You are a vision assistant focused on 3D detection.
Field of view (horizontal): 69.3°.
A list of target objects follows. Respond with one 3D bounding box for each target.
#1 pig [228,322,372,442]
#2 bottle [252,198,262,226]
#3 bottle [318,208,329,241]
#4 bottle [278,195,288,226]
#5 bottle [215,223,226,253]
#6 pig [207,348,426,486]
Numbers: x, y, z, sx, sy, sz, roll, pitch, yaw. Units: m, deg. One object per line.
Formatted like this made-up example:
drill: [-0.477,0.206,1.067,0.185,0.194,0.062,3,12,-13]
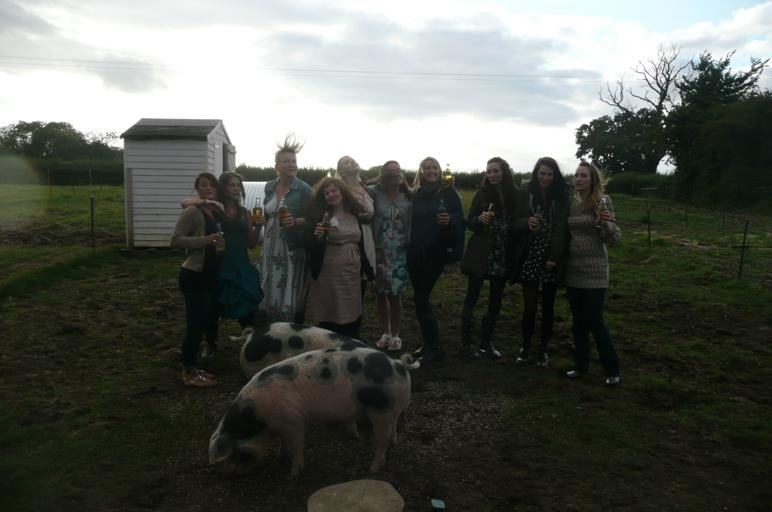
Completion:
pig: [-1.114,1.137,6.138,2.280,1.166,0.688,3,7,9]
bottle: [-1.517,-0.506,6.659,0.095,0.306,0.217,-1,14,-11]
bottle: [-0.730,-0.377,6.600,0.139,0.309,0.352,0,14,-5]
bottle: [-1.240,-0.533,6.841,0.131,0.262,0.662,-1,14,-10]
bottle: [-2.040,-0.227,6.949,0.110,0.359,0.357,-2,14,-16]
pig: [-0.225,1.442,5.469,2.808,1.428,0.864,-3,5,-12]
